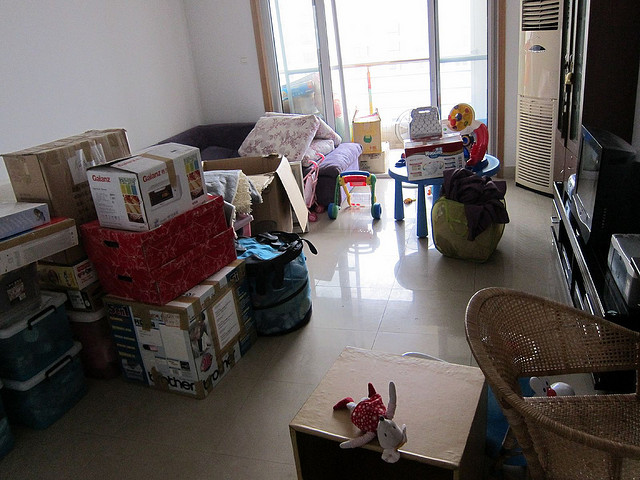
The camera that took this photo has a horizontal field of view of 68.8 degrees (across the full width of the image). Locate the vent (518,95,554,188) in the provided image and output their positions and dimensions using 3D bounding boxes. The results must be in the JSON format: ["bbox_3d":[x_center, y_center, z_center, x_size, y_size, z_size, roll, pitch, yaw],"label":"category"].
[{"bbox_3d":[2.153,-0.988,4.680,0.122,0.865,0.448,-9,24,-11],"label":"vent"}]

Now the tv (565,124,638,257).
[{"bbox_3d":[1.697,-0.282,2.798,0.331,0.602,0.692,-2,38,17],"label":"tv"}]

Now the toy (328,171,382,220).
[{"bbox_3d":[0.380,-0.555,5.014,0.558,0.451,0.810,-1,25,8],"label":"toy"}]

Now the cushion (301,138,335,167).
[{"bbox_3d":[-0.027,-0.990,5.298,0.396,0.079,0.394,24,31,10],"label":"cushion"}]

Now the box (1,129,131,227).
[{"bbox_3d":[-1.405,-0.327,2.603,0.352,0.471,0.628,8,31,28],"label":"box"}]

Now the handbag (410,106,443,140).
[{"bbox_3d":[0.918,-1.007,4.067,0.277,0.260,0.111,-7,15,8],"label":"handbag"}]

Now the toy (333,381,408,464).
[{"bbox_3d":[0.198,0.679,1.839,0.285,0.207,0.299,-5,25,-2],"label":"toy"}]

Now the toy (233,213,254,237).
[{"bbox_3d":[-0.595,-0.088,3.611,0.137,0.160,0.163,10,26,19],"label":"toy"}]

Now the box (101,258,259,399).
[{"bbox_3d":[-0.889,0.465,3.004,0.729,0.694,0.763,6,23,19],"label":"box"}]

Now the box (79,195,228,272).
[{"bbox_3d":[-1.008,0.021,2.904,0.569,0.310,0.811,-4,11,21],"label":"box"}]

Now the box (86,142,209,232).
[{"bbox_3d":[-0.961,-0.316,2.647,0.355,0.360,0.527,7,25,24],"label":"box"}]

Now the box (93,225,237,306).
[{"bbox_3d":[-0.936,0.050,2.913,0.554,0.290,0.783,1,16,30],"label":"box"}]

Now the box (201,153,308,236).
[{"bbox_3d":[-0.559,-0.437,4.239,0.872,0.731,0.768,2,22,7],"label":"box"}]

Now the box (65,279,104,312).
[{"bbox_3d":[-1.423,0.325,2.823,0.232,0.133,0.235,-16,26,-37],"label":"box"}]

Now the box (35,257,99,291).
[{"bbox_3d":[-1.526,0.177,2.795,0.340,0.172,0.202,2,24,23],"label":"box"}]
